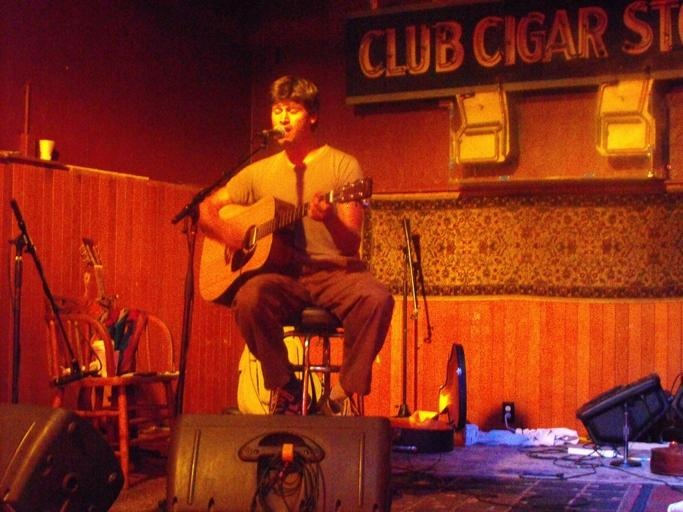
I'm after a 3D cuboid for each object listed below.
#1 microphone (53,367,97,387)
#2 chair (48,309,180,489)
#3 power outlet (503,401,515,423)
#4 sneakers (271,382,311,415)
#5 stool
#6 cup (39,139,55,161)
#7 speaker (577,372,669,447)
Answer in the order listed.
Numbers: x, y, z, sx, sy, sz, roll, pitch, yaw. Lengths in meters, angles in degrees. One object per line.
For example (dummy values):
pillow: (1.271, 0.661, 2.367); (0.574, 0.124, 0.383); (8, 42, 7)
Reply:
microphone: (-1.619, 0.738, 4.750); (0.245, 0.103, 0.349); (2, -8, -17)
chair: (-1.537, 0.937, 5.210); (0.673, 1.251, 0.846); (-7, -8, 20)
power outlet: (1.444, 1.348, 6.751); (0.091, 0.172, 0.150); (0, 5, 11)
sneakers: (-0.301, 0.820, 4.476); (0.287, 0.268, 0.114); (2, -3, -4)
stool: (-0.099, 0.679, 4.890); (0.419, 0.659, 1.111); (-1, -7, 5)
cup: (-2.159, -0.781, 5.682); (0.115, 0.166, 0.128); (1, 0, 29)
speaker: (2.005, 1.042, 5.526); (0.576, 0.292, 0.494); (-27, 5, -28)
